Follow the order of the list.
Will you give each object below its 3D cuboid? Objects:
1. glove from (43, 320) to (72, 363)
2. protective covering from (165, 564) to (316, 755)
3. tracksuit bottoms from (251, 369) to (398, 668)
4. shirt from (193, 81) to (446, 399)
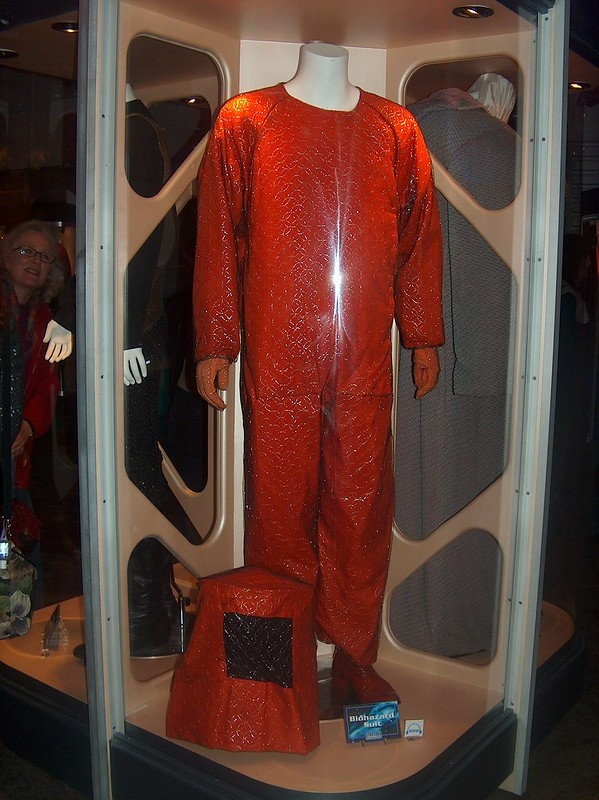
[{"bbox_3d":[-0.422,-0.104,1.252,0.019,0.076,0.070,-3,21,-40],"label":"glove"},{"bbox_3d":[-0.085,0.439,1.261,0.241,0.259,0.228,6,-3,6],"label":"protective covering"},{"bbox_3d":[0.041,0.194,1.357,0.271,0.694,0.158,6,26,6],"label":"tracksuit bottoms"},{"bbox_3d":[0.022,-0.288,1.239,0.491,0.651,0.219,-2,13,-9],"label":"shirt"}]
